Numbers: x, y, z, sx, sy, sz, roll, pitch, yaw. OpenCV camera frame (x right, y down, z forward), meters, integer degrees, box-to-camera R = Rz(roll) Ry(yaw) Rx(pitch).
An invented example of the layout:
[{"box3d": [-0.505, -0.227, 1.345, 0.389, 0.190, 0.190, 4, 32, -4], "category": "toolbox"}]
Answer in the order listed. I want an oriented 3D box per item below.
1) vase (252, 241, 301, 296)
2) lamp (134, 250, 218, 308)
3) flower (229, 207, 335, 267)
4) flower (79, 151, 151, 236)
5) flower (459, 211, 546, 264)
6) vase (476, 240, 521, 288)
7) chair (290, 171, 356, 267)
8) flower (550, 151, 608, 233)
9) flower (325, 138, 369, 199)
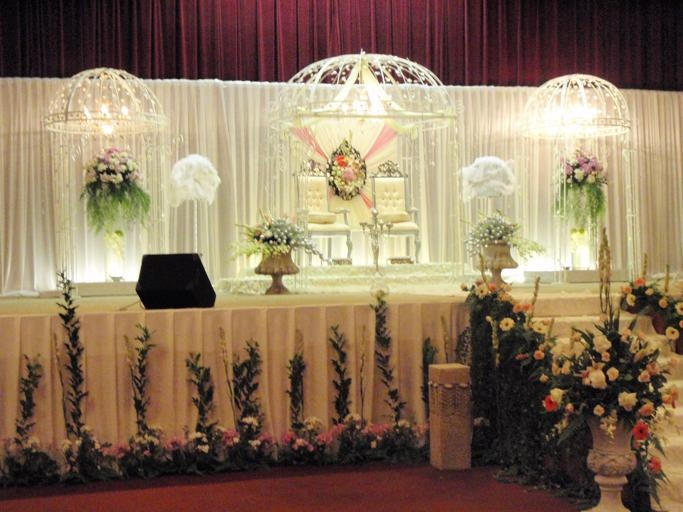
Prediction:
[{"box3d": [-0.639, 0.141, 9.227, 0.430, 0.552, 0.458, -3, 9, -24], "category": "vase"}, {"box3d": [-1.487, 0.199, 8.128, 0.515, 0.528, 0.493, -2, 4, 2], "category": "lamp"}, {"box3d": [-0.602, -0.201, 9.306, 0.771, 0.396, 0.784, 4, 1, 29], "category": "flower"}, {"box3d": [-2.690, -0.801, 11.161, 0.714, 1.046, 0.918, -2, 1, 17], "category": "flower"}, {"box3d": [1.714, -0.232, 9.791, 0.601, 0.531, 0.578, -7, -11, -6], "category": "flower"}, {"box3d": [1.657, 0.096, 9.750, 0.396, 0.529, 0.432, 1, 0, 27], "category": "vase"}, {"box3d": [-0.249, -0.503, 11.615, 0.583, 1.279, 0.677, -3, 0, -15], "category": "chair"}, {"box3d": [3.000, -0.832, 11.434, 0.635, 0.975, 0.420, -2, 0, 18], "category": "flower"}, {"box3d": [0.079, -1.151, 12.252, 0.517, 0.808, 0.229, -1, -8, -17], "category": "flower"}]
